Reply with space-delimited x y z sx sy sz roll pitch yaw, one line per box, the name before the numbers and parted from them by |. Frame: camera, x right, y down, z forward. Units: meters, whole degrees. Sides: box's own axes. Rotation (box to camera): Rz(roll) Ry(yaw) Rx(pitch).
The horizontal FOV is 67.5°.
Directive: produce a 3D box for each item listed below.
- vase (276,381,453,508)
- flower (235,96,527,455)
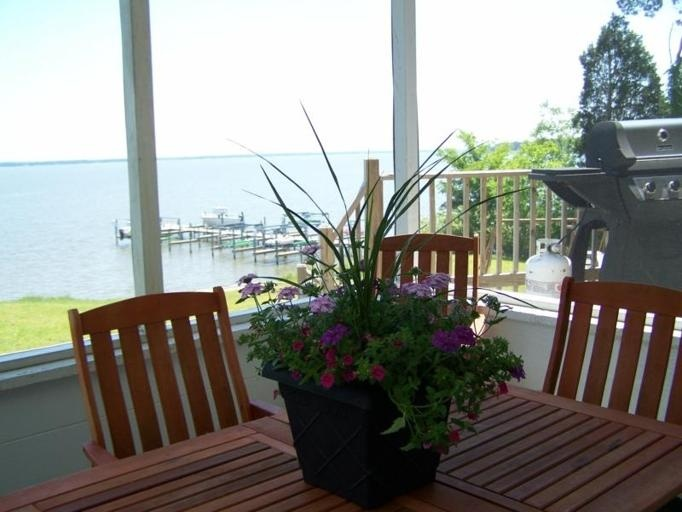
vase | 0.050 0.319 1.038 0.262 0.210 0.263 0 -3 -29
flower | 0.157 0.088 1.422 0.596 0.732 1.268 0 6 14
